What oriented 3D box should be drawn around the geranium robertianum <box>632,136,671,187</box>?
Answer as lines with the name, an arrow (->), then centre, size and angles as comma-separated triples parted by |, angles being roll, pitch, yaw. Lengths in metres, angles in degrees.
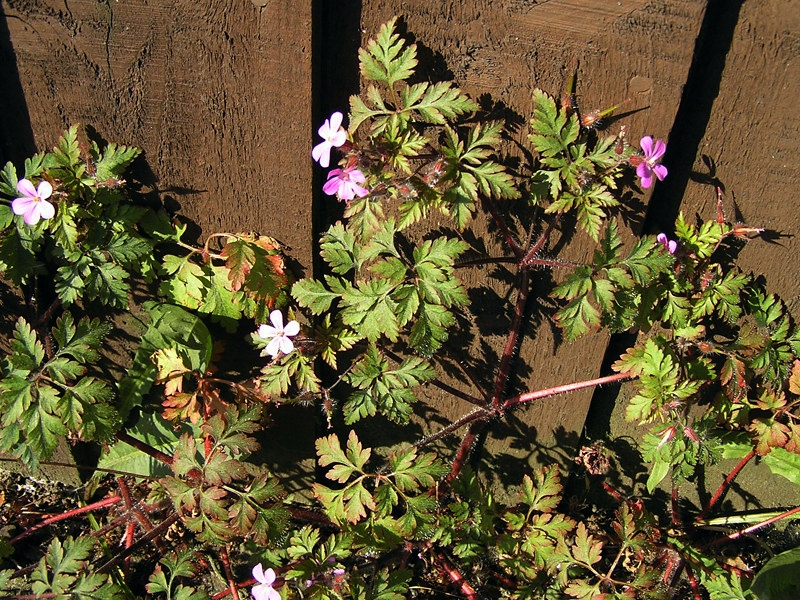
geranium robertianum -> 1.042, -0.578, 3.465 | 0.157, 0.188, 0.121 | -17, 33, -40

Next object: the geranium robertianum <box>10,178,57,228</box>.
geranium robertianum -> -1.557, -0.431, 3.572 | 0.185, 0.198, 0.115 | 9, 24, 6

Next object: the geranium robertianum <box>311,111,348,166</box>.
geranium robertianum -> -0.288, -0.687, 3.470 | 0.143, 0.214, 0.171 | 6, 25, 1
